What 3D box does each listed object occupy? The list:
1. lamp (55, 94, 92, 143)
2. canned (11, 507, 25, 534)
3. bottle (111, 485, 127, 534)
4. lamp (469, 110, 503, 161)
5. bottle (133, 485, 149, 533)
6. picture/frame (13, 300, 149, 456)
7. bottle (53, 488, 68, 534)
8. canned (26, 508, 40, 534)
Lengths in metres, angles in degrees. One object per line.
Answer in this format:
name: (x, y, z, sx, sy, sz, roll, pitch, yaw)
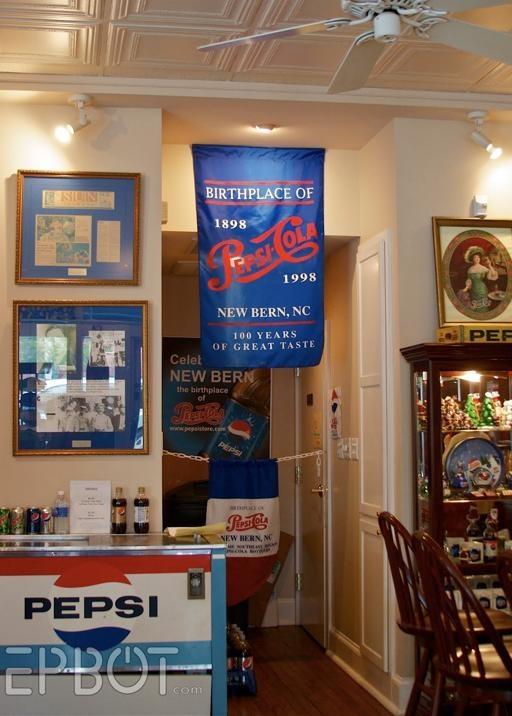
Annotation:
lamp: (-0.948, -1.250, 3.147, 0.083, 0.190, 0.199, 16, 38, 34)
canned: (-1.120, 0.775, 2.854, 0.060, 0.119, 0.114, -2, -4, -18)
bottle: (-0.690, 0.774, 3.069, 0.083, 0.233, 0.170, -2, -4, -14)
lamp: (1.317, -1.288, 3.517, 0.172, 0.275, 0.112, 1, 15, 32)
bottle: (-0.573, 0.770, 3.060, 0.079, 0.234, 0.218, -2, -3, -10)
picture/frame: (-0.934, 0.135, 3.153, 0.771, 0.903, 0.052, -1, -2, -3)
bottle: (-0.968, 0.774, 3.019, 0.075, 0.194, 0.097, -2, -4, -18)
canned: (-1.063, 0.780, 2.892, 0.073, 0.117, 0.034, -3, -4, 3)
